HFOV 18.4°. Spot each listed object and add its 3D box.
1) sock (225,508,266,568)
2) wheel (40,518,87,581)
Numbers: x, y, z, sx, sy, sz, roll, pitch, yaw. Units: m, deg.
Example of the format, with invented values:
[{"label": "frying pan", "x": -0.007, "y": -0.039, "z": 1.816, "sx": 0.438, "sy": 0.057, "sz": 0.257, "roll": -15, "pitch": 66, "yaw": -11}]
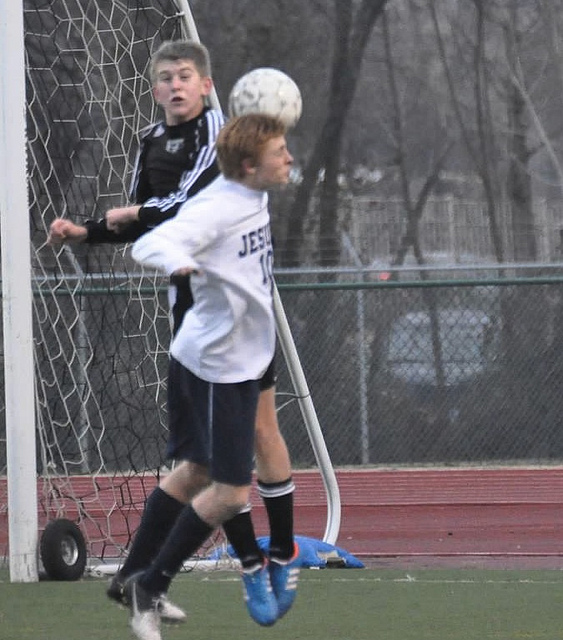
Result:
[{"label": "sock", "x": -0.150, "y": 0.989, "z": 7.856, "sx": 0.158, "sy": 0.240, "sz": 0.119, "roll": 6, "pitch": 14, "yaw": 41}, {"label": "wheel", "x": -1.092, "y": 1.173, "z": 8.791, "sx": 0.089, "sy": 0.329, "sz": 0.300, "roll": -12, "pitch": -7, "yaw": 29}]
